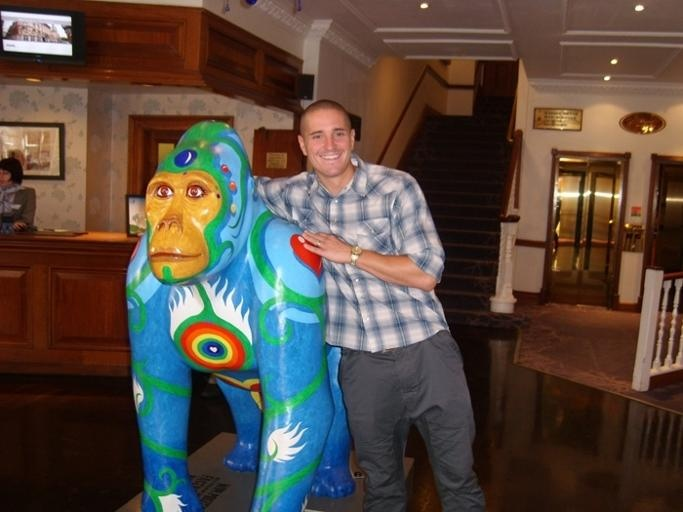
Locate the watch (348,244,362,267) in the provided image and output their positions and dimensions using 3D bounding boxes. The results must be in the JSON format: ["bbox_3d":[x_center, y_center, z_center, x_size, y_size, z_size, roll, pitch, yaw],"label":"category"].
[{"bbox_3d":[0.050,-0.004,1.975,0.040,0.067,0.062,17,49,13],"label":"watch"}]

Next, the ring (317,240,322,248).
[{"bbox_3d":[-0.080,-0.044,1.959,0.017,0.009,0.023,3,30,0],"label":"ring"}]

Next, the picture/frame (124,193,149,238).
[{"bbox_3d":[-1.787,-0.353,4.772,0.030,0.366,0.266,-1,4,18],"label":"picture/frame"}]
